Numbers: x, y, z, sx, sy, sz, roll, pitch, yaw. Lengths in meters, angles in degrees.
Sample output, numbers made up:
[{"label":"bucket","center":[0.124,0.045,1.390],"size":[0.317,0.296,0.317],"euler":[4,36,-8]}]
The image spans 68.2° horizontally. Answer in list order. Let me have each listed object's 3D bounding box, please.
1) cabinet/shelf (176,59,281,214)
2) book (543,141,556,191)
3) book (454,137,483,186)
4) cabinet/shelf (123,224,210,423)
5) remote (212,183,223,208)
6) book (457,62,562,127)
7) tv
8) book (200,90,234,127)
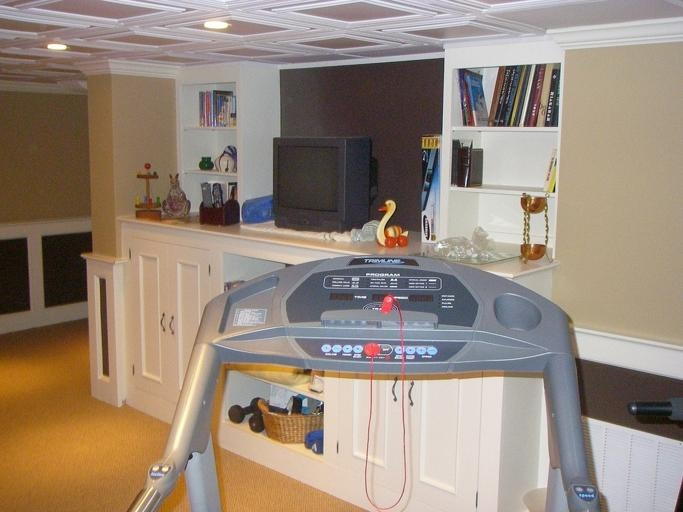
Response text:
[{"label":"cabinet/shelf","center":[-0.881,-0.958,3.957],"size":[0.905,1.502,0.452],"euler":[9,14,37]},{"label":"book","center":[1.167,-0.506,2.837],"size":[0.035,0.280,0.203],"euler":[9,27,20]},{"label":"book","center":[0.745,-0.557,3.009],"size":[0.165,0.333,0.230],"euler":[10,15,39]},{"label":"cabinet/shelf","center":[-1.339,0.529,4.260],"size":[0.859,1.629,0.557],"euler":[6,13,9]},{"label":"remote","center":[-0.931,-0.453,3.767],"size":[0.082,0.157,0.041],"euler":[-2,18,-9]},{"label":"book","center":[0.940,-0.890,2.804],"size":[0.362,0.387,0.202],"euler":[4,2,4]},{"label":"tv","center":[-0.133,-0.416,3.632],"size":[0.799,0.819,0.582],"euler":[7,12,35]},{"label":"book","center":[-0.997,-1.179,4.055],"size":[0.314,0.336,0.160],"euler":[1,0,6]}]
